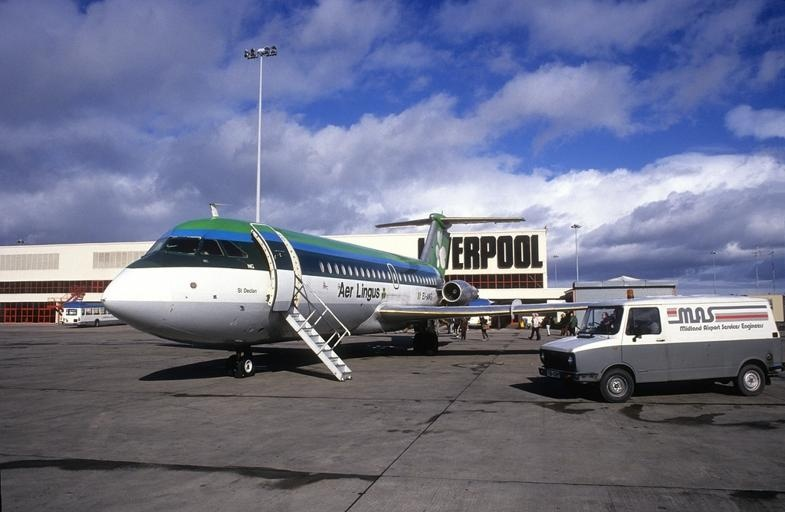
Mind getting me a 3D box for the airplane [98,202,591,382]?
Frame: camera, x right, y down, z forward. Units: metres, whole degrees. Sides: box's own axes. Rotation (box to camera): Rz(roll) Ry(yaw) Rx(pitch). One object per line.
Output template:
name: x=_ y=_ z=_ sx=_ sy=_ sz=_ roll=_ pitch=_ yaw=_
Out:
airplane: x=-1.690 y=1.262 z=20.392 sx=4.905 sy=5.623 sz=14.848 roll=0 pitch=1 yaw=33
